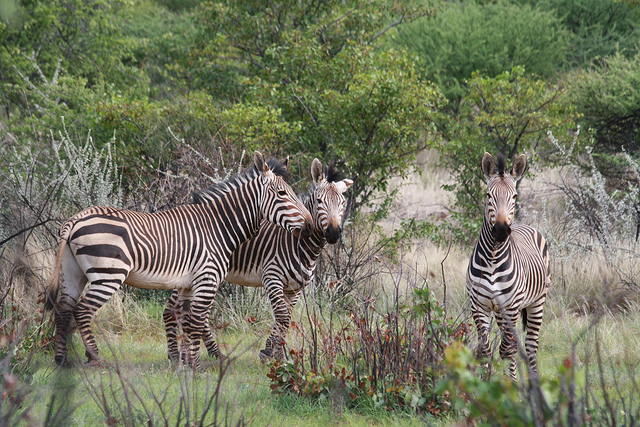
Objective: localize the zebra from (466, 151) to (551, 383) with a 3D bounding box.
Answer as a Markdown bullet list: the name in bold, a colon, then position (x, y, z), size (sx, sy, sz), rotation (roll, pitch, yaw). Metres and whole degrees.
- **zebra**: position (3.385, 0.948, 13.469), size (1.593, 3.995, 1.087), rotation (10, -16, -38)
